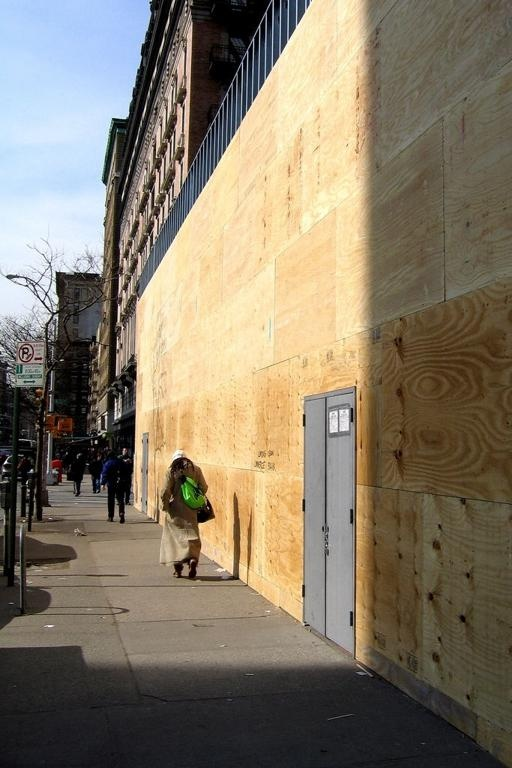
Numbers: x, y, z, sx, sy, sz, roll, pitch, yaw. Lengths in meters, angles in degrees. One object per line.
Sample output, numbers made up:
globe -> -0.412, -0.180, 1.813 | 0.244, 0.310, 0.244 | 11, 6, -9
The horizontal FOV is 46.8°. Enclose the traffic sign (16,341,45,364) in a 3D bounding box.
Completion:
traffic sign -> -3.941, -0.556, 10.319 | 0.318, 0.426, 0.055 | -4, -17, 2

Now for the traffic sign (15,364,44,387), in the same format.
traffic sign -> -3.882, -0.160, 10.126 | 0.367, 0.368, 0.053 | 0, -30, -22

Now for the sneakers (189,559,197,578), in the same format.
sneakers -> -1.026, 2.982, 9.675 | 0.111, 0.374, 0.242 | 1, 3, -20

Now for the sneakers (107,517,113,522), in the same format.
sneakers -> -4.836, 4.460, 19.595 | 0.179, 0.190, 0.163 | 1, -2, -32

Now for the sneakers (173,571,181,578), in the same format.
sneakers -> -1.297, 3.132, 9.785 | 0.082, 0.126, 0.043 | 0, 1, 19

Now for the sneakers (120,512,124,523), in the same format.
sneakers -> -4.317, 4.335, 19.104 | 0.147, 0.278, 0.420 | 3, -11, -14

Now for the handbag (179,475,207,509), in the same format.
handbag -> -1.057, 1.808, 9.782 | 0.196, 0.519, 0.374 | -21, 14, 35
